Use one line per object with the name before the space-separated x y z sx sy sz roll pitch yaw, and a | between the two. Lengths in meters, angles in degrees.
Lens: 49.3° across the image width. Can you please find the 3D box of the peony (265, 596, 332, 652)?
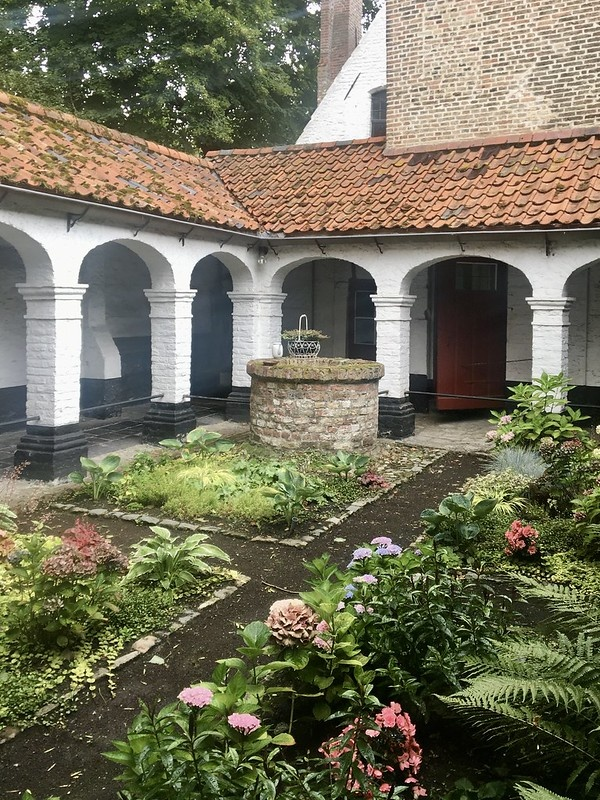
peony | -0.031 0.963 2.896 0.227 0.131 0.209 -5 13 -8

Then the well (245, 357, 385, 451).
well | 0.257 0.041 9.392 1.884 1.016 1.755 4 4 15

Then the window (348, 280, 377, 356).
window | 1.411 -1.697 13.734 0.767 1.684 0.169 6 12 32
